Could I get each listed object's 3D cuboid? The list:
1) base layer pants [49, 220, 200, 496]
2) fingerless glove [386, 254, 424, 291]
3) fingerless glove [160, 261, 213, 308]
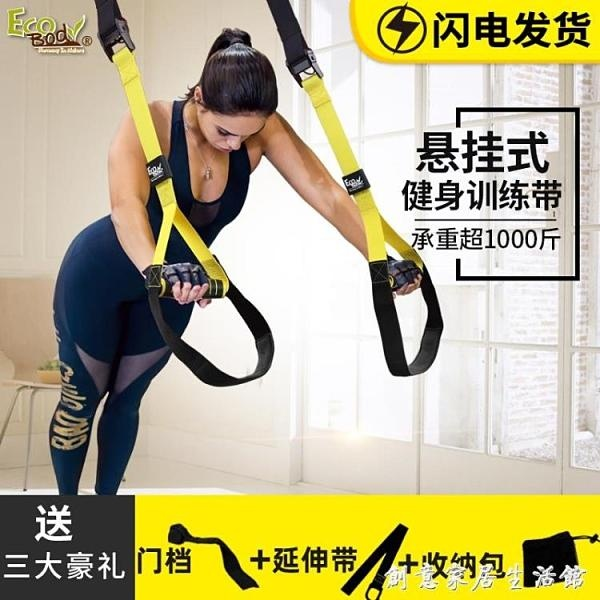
[{"bbox_3d":[-0.514,0.171,1.743,0.318,0.865,0.274,-3,22,-38],"label":"base layer pants"},{"bbox_3d":[0.265,-0.072,1.657,0.096,0.066,0.038,24,-20,-27],"label":"fingerless glove"},{"bbox_3d":[-0.278,-0.044,1.518,0.082,0.101,0.043,7,-25,-10],"label":"fingerless glove"}]
